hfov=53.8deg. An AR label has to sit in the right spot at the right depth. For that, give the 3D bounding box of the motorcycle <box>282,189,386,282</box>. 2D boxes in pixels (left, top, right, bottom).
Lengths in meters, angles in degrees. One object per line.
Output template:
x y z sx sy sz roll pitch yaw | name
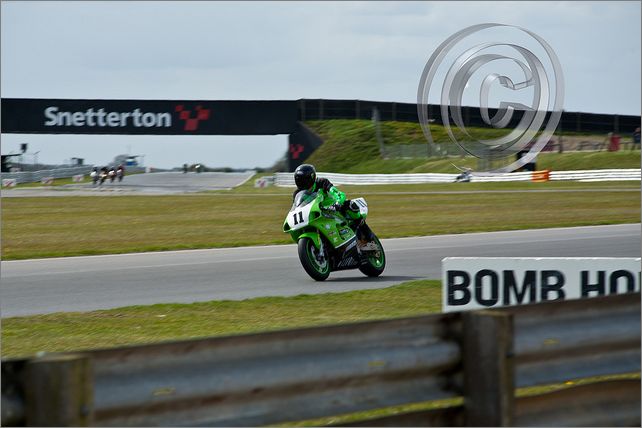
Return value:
0.218 0.335 10.414 1.633 1.524 0.471 -2 3 -38 | motorcycle

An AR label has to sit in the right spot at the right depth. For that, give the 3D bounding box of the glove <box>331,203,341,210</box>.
0.252 -0.121 10.254 0.064 0.133 0.211 1 2 33 | glove

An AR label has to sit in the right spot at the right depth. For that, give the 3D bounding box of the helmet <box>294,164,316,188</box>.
-0.240 -0.599 10.419 0.330 0.404 0.336 -1 2 -2 | helmet

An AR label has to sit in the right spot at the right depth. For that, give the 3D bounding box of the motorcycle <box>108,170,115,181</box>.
-16.025 -3.008 48.923 0.519 0.961 1.988 -1 2 -18 | motorcycle
